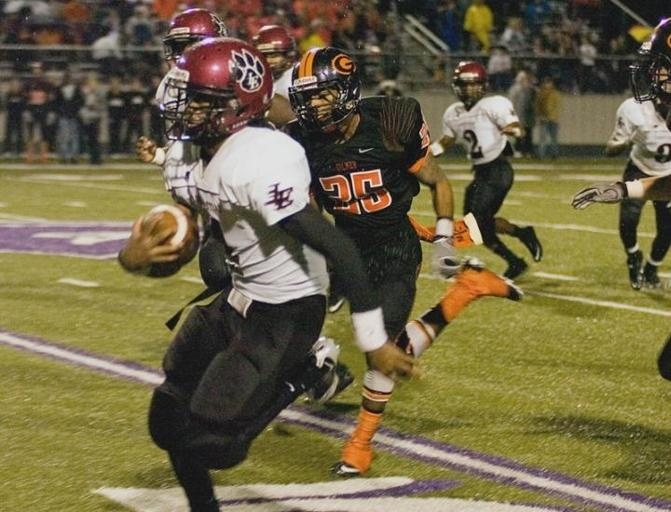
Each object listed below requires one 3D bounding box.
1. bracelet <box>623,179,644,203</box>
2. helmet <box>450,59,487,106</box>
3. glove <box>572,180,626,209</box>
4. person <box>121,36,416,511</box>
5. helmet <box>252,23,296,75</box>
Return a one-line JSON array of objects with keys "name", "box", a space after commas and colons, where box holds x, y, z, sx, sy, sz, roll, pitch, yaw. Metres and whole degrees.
[{"name": "bracelet", "box": [1.582, -0.352, 4.554, 0.126, 0.095, 0.119, -4, -2, 11]}, {"name": "helmet", "box": [1.174, -1.540, 7.704, 0.398, 0.306, 0.392, -1, 14, 4]}, {"name": "glove", "box": [1.477, -0.337, 4.739, 0.253, 0.067, 0.168, -8, 3, 44]}, {"name": "person", "box": [-0.239, 0.042, 3.572, 1.003, 1.900, 0.697, 4, 9, -13]}, {"name": "helmet", "box": [-0.523, -1.429, 6.047, 0.395, 0.322, 0.408, -6, 26, -16]}]
